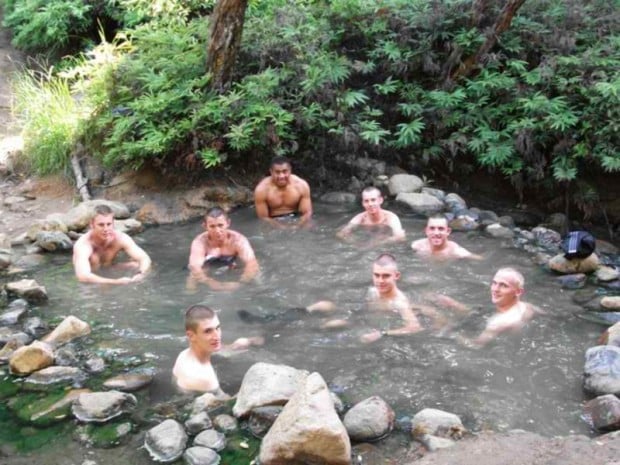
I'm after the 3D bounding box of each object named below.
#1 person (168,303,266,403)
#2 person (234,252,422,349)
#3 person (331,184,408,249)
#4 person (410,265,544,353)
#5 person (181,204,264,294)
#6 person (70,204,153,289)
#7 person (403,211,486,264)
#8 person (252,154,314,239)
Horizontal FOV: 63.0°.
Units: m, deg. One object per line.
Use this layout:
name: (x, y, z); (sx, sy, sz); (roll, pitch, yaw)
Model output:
person: (-0.920, 1.276, 5.345); (1.363, 0.942, 0.845); (4, 15, -2)
person: (0.277, 0.914, 6.654); (2.817, 0.793, 1.348); (-5, 11, 16)
person: (1.136, -0.236, 8.911); (1.811, 1.002, 1.089); (0, 6, 13)
person: (2.156, 0.803, 6.025); (1.148, 0.732, 1.109); (5, 17, 19)
person: (-1.333, 0.238, 7.458); (1.399, 0.911, 1.292); (-5, 25, -12)
person: (-2.918, 0.138, 7.378); (1.036, 1.006, 0.993); (-5, 18, -11)
person: (2.074, 0.126, 7.962); (1.426, 0.533, 0.568); (8, 0, 43)
person: (-0.478, -0.668, 9.335); (1.338, 1.180, 1.049); (-3, 21, -14)
